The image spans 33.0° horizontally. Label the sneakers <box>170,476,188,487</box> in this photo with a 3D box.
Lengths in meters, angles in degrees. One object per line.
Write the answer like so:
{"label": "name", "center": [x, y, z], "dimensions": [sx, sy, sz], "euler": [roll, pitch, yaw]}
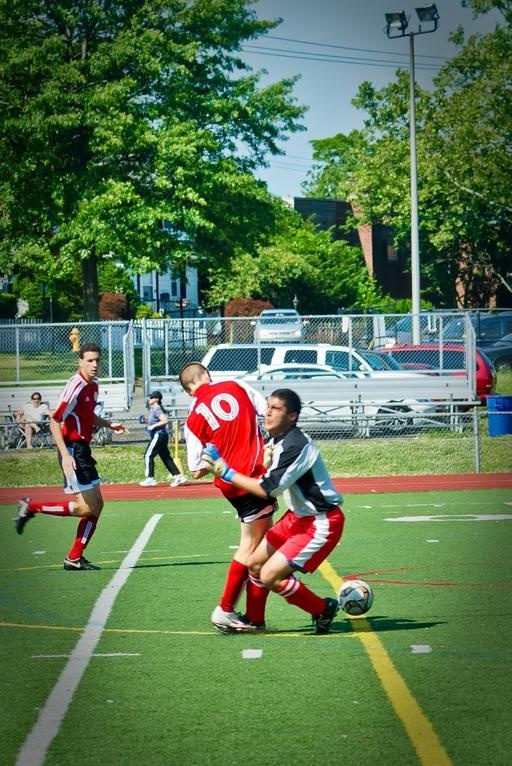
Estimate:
{"label": "sneakers", "center": [-1.236, 1.500, 13.534], "dimensions": [0.166, 0.126, 0.351], "euler": [19, -19, -21]}

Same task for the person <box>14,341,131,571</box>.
{"label": "person", "center": [-1.531, 0.595, 7.023], "dimensions": [0.595, 1.823, 0.745], "euler": [-2, -2, 6]}

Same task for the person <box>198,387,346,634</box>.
{"label": "person", "center": [0.123, 0.719, 4.702], "dimensions": [0.678, 1.372, 0.593], "euler": [-2, -2, 5]}

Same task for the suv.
{"label": "suv", "center": [3.986, -0.230, 18.894], "dimensions": [2.760, 1.025, 1.270], "euler": [2, 2, 2]}

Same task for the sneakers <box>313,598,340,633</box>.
{"label": "sneakers", "center": [0.391, 1.298, 4.870], "dimensions": [0.119, 0.258, 0.089], "euler": [-7, 41, -12]}

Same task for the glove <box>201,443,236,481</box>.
{"label": "glove", "center": [-0.204, 0.408, 4.503], "dimensions": [0.138, 0.196, 0.154], "euler": [-3, -2, 37]}

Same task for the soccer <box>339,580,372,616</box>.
{"label": "soccer", "center": [0.573, 1.259, 5.105], "dimensions": [0.215, 0.195, 0.206], "euler": [10, 26, 3]}

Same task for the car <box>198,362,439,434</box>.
{"label": "car", "center": [1.771, 0.352, 16.808], "dimensions": [2.961, 0.819, 1.739], "euler": [-1, 4, -4]}

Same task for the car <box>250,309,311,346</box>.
{"label": "car", "center": [0.711, -1.680, 25.406], "dimensions": [1.134, 0.903, 2.372], "euler": [-1, -2, 2]}

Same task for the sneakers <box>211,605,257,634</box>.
{"label": "sneakers", "center": [-0.087, 1.335, 4.972], "dimensions": [0.328, 0.149, 0.114], "euler": [5, -1, -11]}

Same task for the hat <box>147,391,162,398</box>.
{"label": "hat", "center": [-1.532, 0.162, 13.010], "dimensions": [0.251, 0.102, 0.147], "euler": [7, -4, -18]}

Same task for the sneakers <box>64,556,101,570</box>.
{"label": "sneakers", "center": [-1.426, 1.435, 7.071], "dimensions": [0.337, 0.135, 0.109], "euler": [0, 2, -1]}

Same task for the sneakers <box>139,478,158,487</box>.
{"label": "sneakers", "center": [-1.671, 1.497, 13.312], "dimensions": [0.314, 0.134, 0.120], "euler": [2, 6, 17]}

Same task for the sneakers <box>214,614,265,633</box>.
{"label": "sneakers", "center": [-0.102, 1.358, 4.915], "dimensions": [0.302, 0.129, 0.105], "euler": [-1, -1, -8]}

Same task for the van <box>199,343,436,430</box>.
{"label": "van", "center": [1.191, -0.149, 17.164], "dimensions": [4.189, 1.506, 1.955], "euler": [-2, 3, -2]}
